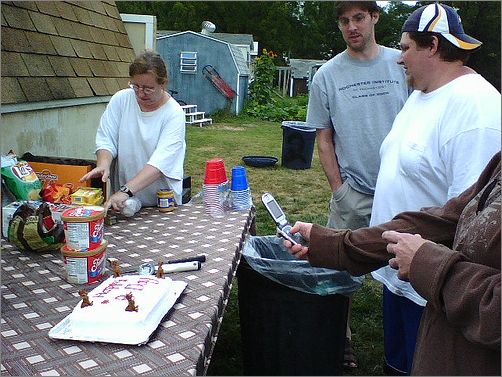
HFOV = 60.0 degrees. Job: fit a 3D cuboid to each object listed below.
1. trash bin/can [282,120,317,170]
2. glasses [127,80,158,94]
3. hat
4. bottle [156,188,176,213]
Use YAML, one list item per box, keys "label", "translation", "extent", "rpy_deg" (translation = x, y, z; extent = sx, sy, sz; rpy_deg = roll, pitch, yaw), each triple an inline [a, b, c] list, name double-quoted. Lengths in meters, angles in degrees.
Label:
- label: "trash bin/can"
  translation: [1.008, -0.922, 9.340]
  extent: [0.902, 0.922, 0.821]
  rpy_deg: [9, 14, 14]
- label: "glasses"
  translation: [-0.789, -0.740, 3.169]
  extent: [0.147, 0.046, 0.153]
  rpy_deg: [13, 0, 12]
- label: "hat"
  translation: [0.955, -0.804, 2.175]
  extent: [0.360, 0.188, 0.227]
  rpy_deg: [11, 22, 24]
- label: "bottle"
  translation: [-0.613, 0.085, 3.097]
  extent: [0.143, 0.156, 0.142]
  rpy_deg: [-2, 3, -15]
